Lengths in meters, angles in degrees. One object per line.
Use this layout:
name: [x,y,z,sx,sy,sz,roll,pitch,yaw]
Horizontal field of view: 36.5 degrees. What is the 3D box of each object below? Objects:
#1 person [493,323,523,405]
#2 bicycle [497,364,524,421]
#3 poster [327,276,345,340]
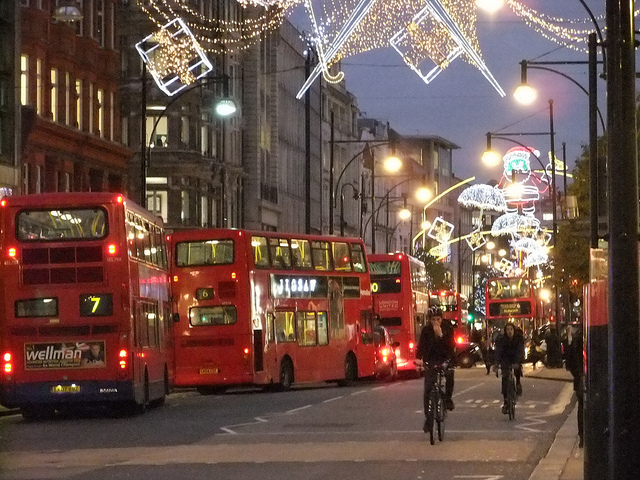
person: [4.367,2.701,22.243,0.605,2.171,0.522,-4,-5,21]
bicycle: [4.391,3.290,22.144,0.363,1.116,1.709,-17,13,21]
poster: [0.721,2.568,36.650,0.768,2.627,0.064,1,-18,-8]
